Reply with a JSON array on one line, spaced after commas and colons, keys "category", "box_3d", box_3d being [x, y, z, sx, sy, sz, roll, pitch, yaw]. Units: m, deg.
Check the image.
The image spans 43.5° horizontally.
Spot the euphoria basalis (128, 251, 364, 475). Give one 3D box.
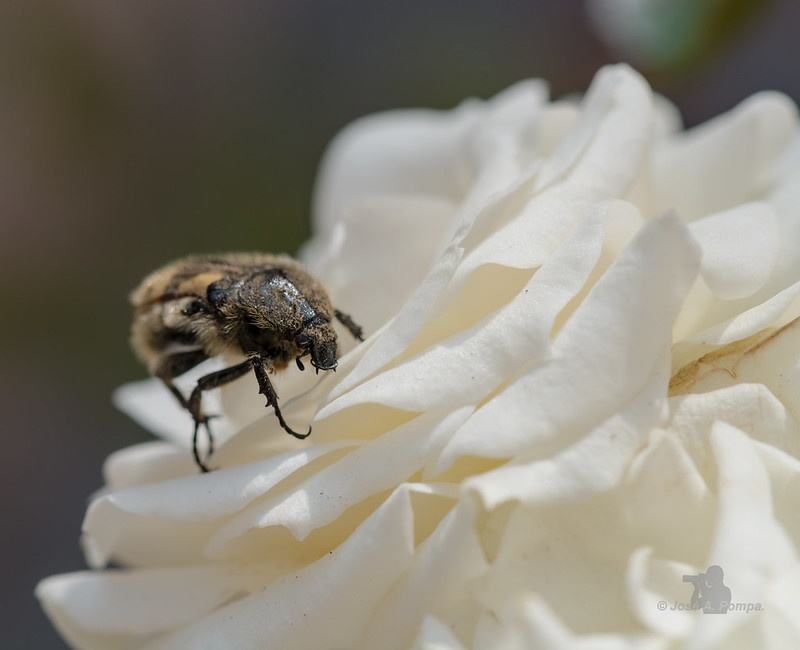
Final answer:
[{"category": "euphoria basalis", "box_3d": [-0.142, -0.004, 0.921, 0.159, 0.139, 0.203, -29, 27, -29]}]
